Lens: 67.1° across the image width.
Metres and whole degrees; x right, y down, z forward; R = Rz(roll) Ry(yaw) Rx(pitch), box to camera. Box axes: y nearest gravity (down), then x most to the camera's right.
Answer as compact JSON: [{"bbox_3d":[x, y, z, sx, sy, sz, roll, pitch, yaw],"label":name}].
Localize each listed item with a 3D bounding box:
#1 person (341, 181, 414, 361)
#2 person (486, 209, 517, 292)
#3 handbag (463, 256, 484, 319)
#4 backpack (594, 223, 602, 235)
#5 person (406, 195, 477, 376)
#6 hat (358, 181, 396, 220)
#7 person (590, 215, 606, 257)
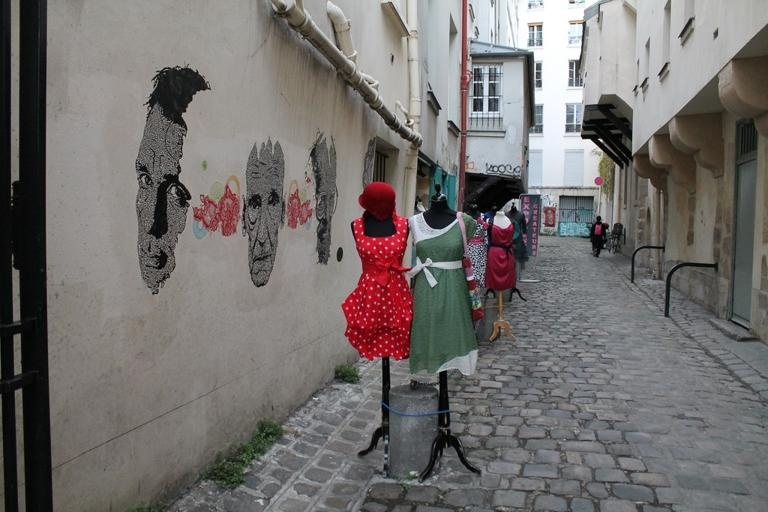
[{"bbox_3d":[-0.060,0.145,4.755,0.579,1.460,0.343,-1,5,0],"label":"person"},{"bbox_3d":[1.835,-0.043,9.387,0.473,1.250,0.622,2,6,35],"label":"person"},{"bbox_3d":[0.757,0.300,4.918,0.109,0.555,0.163,-6,1,42],"label":"handbag"},{"bbox_3d":[8.227,-0.967,22.396,0.245,0.411,0.466,1,6,20],"label":"backpack"},{"bbox_3d":[0.482,0.318,4.835,0.551,1.649,0.414,0,5,7],"label":"person"},{"bbox_3d":[-0.052,-0.466,4.817,0.323,0.304,0.279,14,18,25],"label":"hat"},{"bbox_3d":[8.408,-0.752,22.767,0.497,1.549,1.688,1,6,21],"label":"person"}]
